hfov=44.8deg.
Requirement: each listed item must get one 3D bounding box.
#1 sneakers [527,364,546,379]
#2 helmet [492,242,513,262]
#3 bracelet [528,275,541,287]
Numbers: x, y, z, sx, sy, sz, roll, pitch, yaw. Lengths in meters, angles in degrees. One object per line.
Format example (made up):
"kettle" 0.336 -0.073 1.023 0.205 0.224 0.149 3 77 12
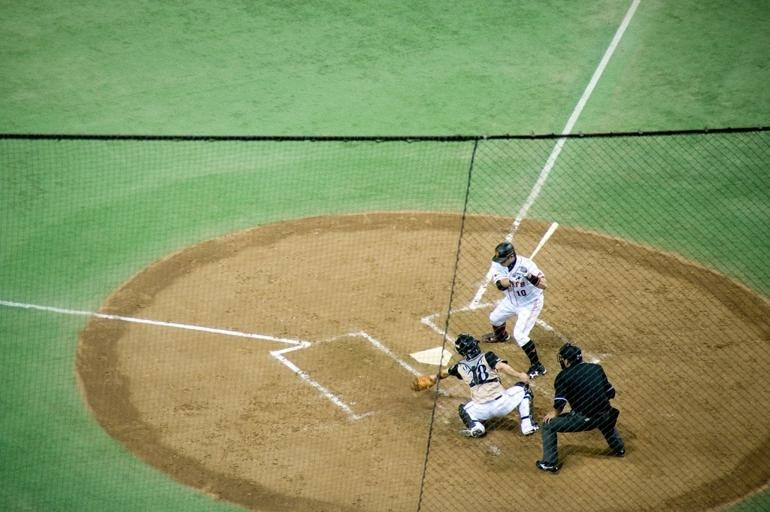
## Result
"sneakers" 3.233 2.460 20.026 0.663 0.233 0.151 -8 70 -2
"helmet" 2.518 -0.095 19.851 0.421 0.394 0.349 2 38 12
"bracelet" 3.165 0.511 19.787 0.157 0.102 0.327 20 13 -43
